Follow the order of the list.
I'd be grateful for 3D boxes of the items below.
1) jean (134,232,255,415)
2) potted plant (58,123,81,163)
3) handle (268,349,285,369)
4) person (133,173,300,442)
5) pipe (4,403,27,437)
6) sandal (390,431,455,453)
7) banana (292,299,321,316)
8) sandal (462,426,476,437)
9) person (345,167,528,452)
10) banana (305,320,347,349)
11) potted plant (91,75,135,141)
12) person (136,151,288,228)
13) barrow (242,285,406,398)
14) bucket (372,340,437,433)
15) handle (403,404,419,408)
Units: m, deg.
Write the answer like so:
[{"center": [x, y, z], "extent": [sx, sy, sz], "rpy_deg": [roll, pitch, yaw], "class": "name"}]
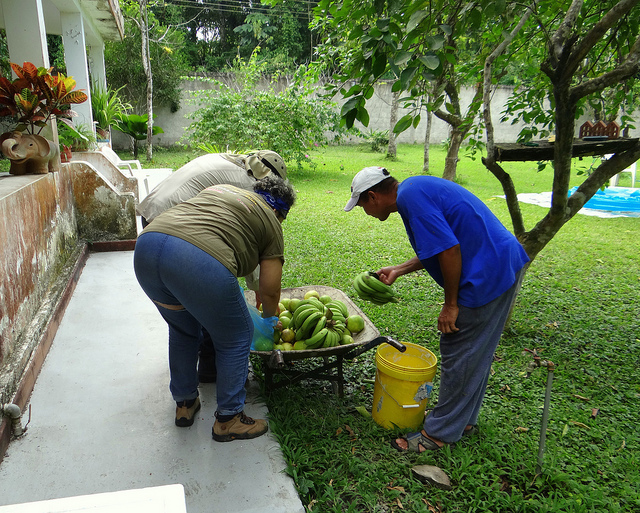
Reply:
[{"center": [-0.943, 0.544, 3.652], "extent": [0.873, 1.686, 0.715], "rpy_deg": [14, 26, 27], "class": "jean"}, {"center": [-3.874, -1.732, 7.428], "extent": [0.438, 0.513, 0.440], "rpy_deg": [11, 6, -37], "class": "potted plant"}, {"center": [-0.337, 0.792, 3.686], "extent": [0.118, 0.160, 0.216], "rpy_deg": [2, 20, -5], "class": "handle"}, {"center": [-0.844, 0.445, 3.654], "extent": [1.040, 1.829, 0.624], "rpy_deg": [4, 19, 2], "class": "person"}, {"center": [-2.296, 1.210, 3.578], "extent": [0.119, 0.285, 0.115], "rpy_deg": [-11, 24, -35], "class": "pipe"}, {"center": [0.813, 1.474, 3.832], "extent": [0.509, 0.148, 0.194], "rpy_deg": [10, -5, -10], "class": "sandal"}, {"center": [-0.133, 0.449, 4.276], "extent": [0.154, 0.071, 0.160], "rpy_deg": [4, 13, -6], "class": "banana"}, {"center": [1.203, 1.433, 3.883], "extent": [0.108, 0.049, 0.116], "rpy_deg": [3, 6, 14], "class": "sandal"}, {"center": [0.890, 0.439, 3.775], "extent": [1.115, 2.073, 0.845], "rpy_deg": [15, 22, 30], "class": "person"}, {"center": [0.056, 0.696, 4.119], "extent": [0.146, 0.199, 0.330], "rpy_deg": [0, 18, 25], "class": "banana"}, {"center": [-4.926, -3.247, 11.040], "extent": [0.766, 1.202, 1.009], "rpy_deg": [3, 13, -36], "class": "potted plant"}, {"center": [-1.055, -0.757, 4.529], "extent": [1.030, 0.422, 0.794], "rpy_deg": [-12, 24, -15], "class": "person"}, {"center": [0.037, 0.830, 4.371], "extent": [1.272, 0.756, 1.021], "rpy_deg": [3, 20, -16], "class": "barrow"}, {"center": [0.700, 1.101, 4.017], "extent": [0.446, 0.590, 0.477], "rpy_deg": [6, 10, -1], "class": "bucket"}, {"center": [0.728, 1.211, 3.837], "extent": [0.114, 0.024, 0.030], "rpy_deg": [-1, -4, -16], "class": "handle"}]
